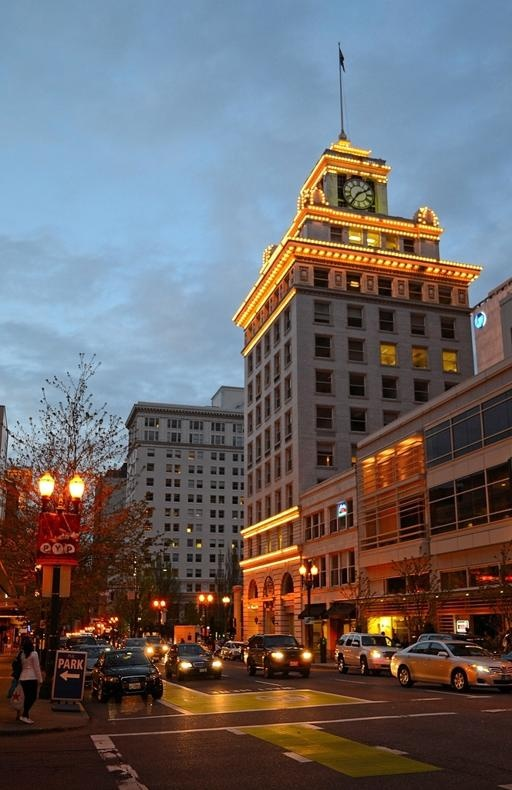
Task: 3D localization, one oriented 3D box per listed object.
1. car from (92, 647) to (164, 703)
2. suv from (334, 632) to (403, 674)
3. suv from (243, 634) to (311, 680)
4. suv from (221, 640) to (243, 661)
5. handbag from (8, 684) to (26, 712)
[{"bbox_3d":[-3.363,7.428,20.947,1.476,1.292,2.097,6,-18,-19],"label":"car"},{"bbox_3d":[4.447,10.300,31.512,1.520,1.544,3.540,3,-17,-10],"label":"suv"},{"bbox_3d":[0.861,9.948,30.144,1.483,1.493,2.969,7,-18,-20],"label":"suv"},{"bbox_3d":[-1.431,16.978,52.456,1.122,1.059,2.395,8,-29,-17],"label":"suv"},{"bbox_3d":[-4.317,5.524,14.431,0.234,0.492,0.619,5,-17,-14],"label":"handbag"}]
